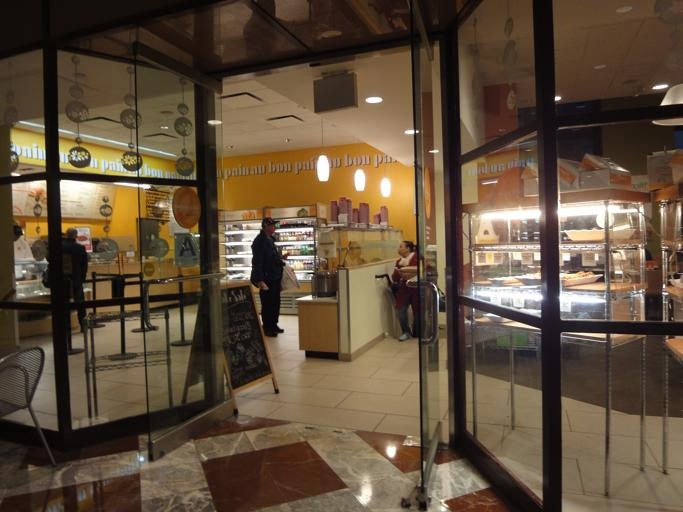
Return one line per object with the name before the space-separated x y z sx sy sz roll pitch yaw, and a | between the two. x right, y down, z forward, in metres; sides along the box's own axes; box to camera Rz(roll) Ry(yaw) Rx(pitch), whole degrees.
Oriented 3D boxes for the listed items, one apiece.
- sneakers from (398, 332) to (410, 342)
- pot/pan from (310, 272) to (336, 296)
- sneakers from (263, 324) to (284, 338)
sneakers | 0.861 1.144 7.875 0.187 0.083 0.065 2 -1 34
pot/pan | -0.230 0.346 7.129 0.280 0.306 0.290 1 2 15
sneakers | -0.969 1.110 8.326 0.394 0.179 0.131 -2 -1 4
